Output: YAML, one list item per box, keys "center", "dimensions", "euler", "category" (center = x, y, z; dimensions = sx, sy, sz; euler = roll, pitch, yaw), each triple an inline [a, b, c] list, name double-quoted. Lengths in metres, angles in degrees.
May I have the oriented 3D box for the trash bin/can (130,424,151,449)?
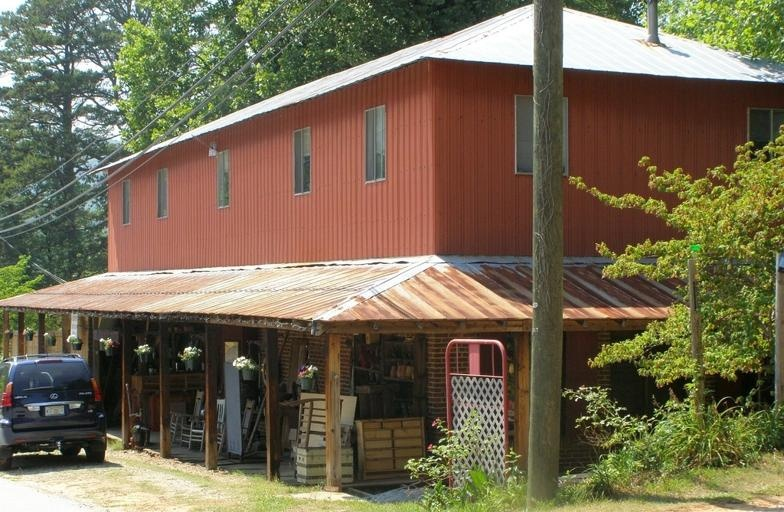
- center: [-8.281, 5.974, 40.527]
  dimensions: [0.694, 0.724, 0.574]
  euler: [4, -7, -28]
  category: "trash bin/can"

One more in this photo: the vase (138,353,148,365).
- center: [-8.472, 3.512, 41.853]
  dimensions: [0.358, 0.270, 0.364]
  euler: [-2, -5, 15]
  category: "vase"

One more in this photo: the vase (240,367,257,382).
- center: [-4.317, 3.578, 37.033]
  dimensions: [0.632, 0.437, 0.659]
  euler: [5, -11, -34]
  category: "vase"

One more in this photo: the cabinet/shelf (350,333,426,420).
- center: [0.005, 3.583, 35.807]
  dimensions: [0.675, 2.182, 2.302]
  euler: [7, -12, -28]
  category: "cabinet/shelf"

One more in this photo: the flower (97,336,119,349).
- center: [-10.087, 3.128, 43.701]
  dimensions: [0.548, 0.446, 0.619]
  euler: [0, -3, 24]
  category: "flower"

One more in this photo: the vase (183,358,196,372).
- center: [-6.835, 3.703, 41.500]
  dimensions: [0.479, 0.539, 0.510]
  euler: [-1, -9, -4]
  category: "vase"

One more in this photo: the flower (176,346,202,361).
- center: [-6.624, 3.235, 40.529]
  dimensions: [0.713, 0.501, 0.700]
  euler: [-2, 2, -9]
  category: "flower"

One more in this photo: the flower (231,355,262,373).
- center: [-4.271, 3.265, 36.728]
  dimensions: [0.599, 0.354, 0.627]
  euler: [3, -8, 38]
  category: "flower"

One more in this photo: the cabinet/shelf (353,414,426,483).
- center: [-0.005, 5.472, 34.478]
  dimensions: [1.745, 1.577, 0.677]
  euler: [0, -6, -8]
  category: "cabinet/shelf"

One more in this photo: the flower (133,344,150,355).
- center: [-8.379, 3.168, 41.572]
  dimensions: [0.427, 0.255, 0.397]
  euler: [0, 3, 3]
  category: "flower"

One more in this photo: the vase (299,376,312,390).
- center: [-2.466, 3.707, 35.636]
  dimensions: [0.390, 0.299, 0.395]
  euler: [1, -2, 23]
  category: "vase"
